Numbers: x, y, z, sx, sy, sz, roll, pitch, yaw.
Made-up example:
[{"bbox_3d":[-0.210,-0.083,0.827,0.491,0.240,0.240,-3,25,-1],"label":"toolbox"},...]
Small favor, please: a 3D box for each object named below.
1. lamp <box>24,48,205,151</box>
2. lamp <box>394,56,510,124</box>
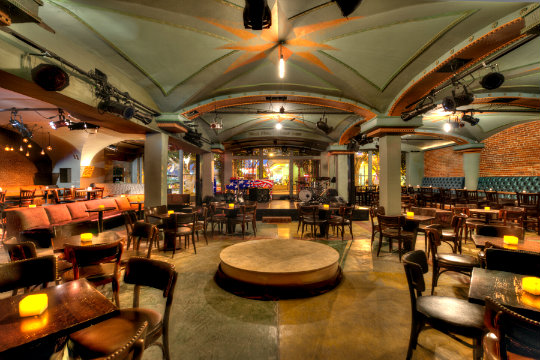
[{"bbox_3d":[-3.644,-1.732,8.492,0.770,1.194,5.484,7,-11,22],"label":"lamp"},{"bbox_3d":[4.504,-2.053,9.004,1.010,1.235,3.166,-35,0,-9],"label":"lamp"}]
